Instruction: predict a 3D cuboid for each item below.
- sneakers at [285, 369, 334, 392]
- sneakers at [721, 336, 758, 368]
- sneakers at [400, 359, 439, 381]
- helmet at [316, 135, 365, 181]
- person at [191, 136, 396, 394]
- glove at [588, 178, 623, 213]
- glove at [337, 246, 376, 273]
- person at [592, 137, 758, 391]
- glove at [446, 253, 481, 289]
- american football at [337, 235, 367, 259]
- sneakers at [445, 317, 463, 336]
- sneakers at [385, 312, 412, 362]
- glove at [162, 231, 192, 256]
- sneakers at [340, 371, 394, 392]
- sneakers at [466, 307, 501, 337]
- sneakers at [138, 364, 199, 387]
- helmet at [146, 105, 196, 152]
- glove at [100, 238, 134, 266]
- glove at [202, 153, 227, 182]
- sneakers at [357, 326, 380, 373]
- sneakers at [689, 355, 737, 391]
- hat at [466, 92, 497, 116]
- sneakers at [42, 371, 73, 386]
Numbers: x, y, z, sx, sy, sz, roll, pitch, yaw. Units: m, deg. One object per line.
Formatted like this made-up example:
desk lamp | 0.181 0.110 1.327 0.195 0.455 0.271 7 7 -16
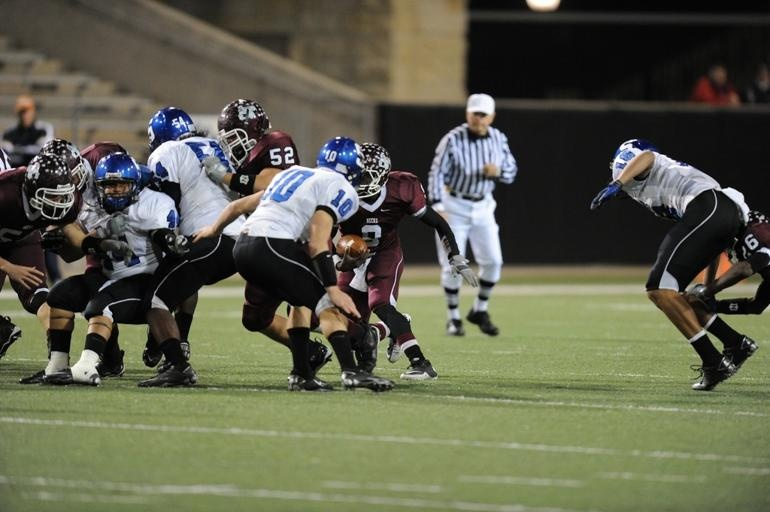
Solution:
sneakers | -0.592 0.976 7.638 0.363 0.158 0.143 2 1 -9
sneakers | 2.887 0.785 8.012 0.336 0.155 0.130 -48 -4 24
sneakers | 0.283 0.941 8.017 0.361 0.170 0.130 0 -3 -20
helmet | -0.372 -0.753 7.628 0.284 0.357 0.366 19 34 31
person | -0.594 0.071 7.535 1.247 1.940 0.580 1 8 0
glove | 1.811 -0.514 7.927 0.086 0.328 0.185 42 -11 1
glove | -0.243 0.039 7.829 0.220 0.129 0.161 -32 24 -12
person | 2.255 -0.033 8.000 1.336 2.261 1.065 6 -22 -25
glove | 0.604 0.164 8.083 0.221 0.310 0.084 -31 -12 -49
american football | -0.265 -0.073 7.812 0.205 0.168 0.163 7 3 0
sneakers | 0.759 0.778 10.715 0.206 0.208 0.126 0 6 5
sneakers | 0.131 0.698 8.649 0.168 0.502 0.230 1 -15 4
glove | -1.599 -0.101 7.587 0.188 0.141 0.084 11 35 19
sneakers | -0.137 0.946 7.468 0.426 0.199 0.157 -1 2 -4
sneakers | 1.079 0.684 10.763 0.463 0.215 0.161 38 15 23
sneakers | -1.662 0.933 7.725 0.502 0.233 0.182 2 -1 -7
helmet | -1.821 -1.079 8.400 0.309 0.383 0.404 -20 17 -40
glove | -2.080 -0.026 7.594 0.240 0.215 0.204 -1 9 -18
glove | -1.369 -0.703 7.914 0.070 0.211 0.157 -34 21 36
sneakers | -0.154 0.726 8.094 0.141 0.428 0.184 -16 -40 32
sneakers | 2.652 0.947 7.891 0.288 0.152 0.099 -43 11 36
hat | 1.073 -1.682 10.939 0.253 0.196 0.362 5 11 10
sneakers | -2.509 0.937 7.521 0.166 0.075 0.122 -3 -4 -2
